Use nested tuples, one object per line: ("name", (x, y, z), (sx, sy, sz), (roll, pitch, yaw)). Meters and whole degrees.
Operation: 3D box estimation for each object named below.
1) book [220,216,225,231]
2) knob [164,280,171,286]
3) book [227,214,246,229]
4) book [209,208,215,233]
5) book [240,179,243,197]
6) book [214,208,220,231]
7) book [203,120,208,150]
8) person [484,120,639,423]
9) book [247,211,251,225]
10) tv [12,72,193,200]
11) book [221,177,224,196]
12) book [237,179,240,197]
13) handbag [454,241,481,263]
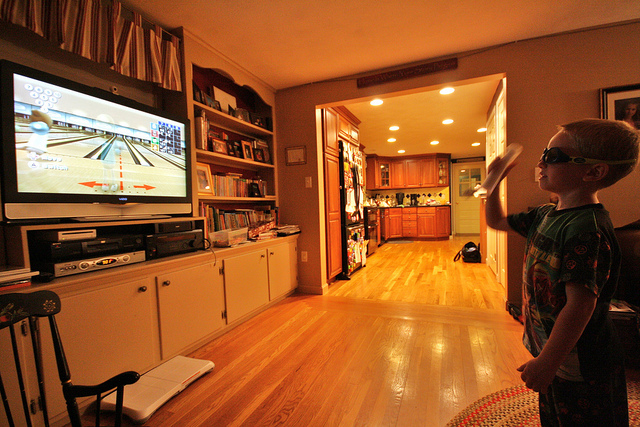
("book", (-0.966, 0.087, 4.166), (0.032, 0.128, 0.061), (-4, 4, 0))
("knob", (-1.208, 0.544, 3.340), (0.030, 0.032, 0.048), (-31, 1, -33))
("book", (-0.845, 0.069, 4.328), (0.073, 0.135, 0.239), (-2, 4, 23))
("book", (-1.041, 0.057, 4.066), (0.036, 0.221, 0.062), (-4, 4, -5))
("book", (-0.829, -0.273, 4.448), (0.025, 0.178, 0.072), (-4, 4, 1))
("book", (-1.000, 0.056, 4.133), (0.033, 0.205, 0.113), (-3, 4, 7))
("book", (-1.082, -0.747, 3.983), (0.018, 0.273, 0.084), (-3, 4, 8))
("person", (1.367, 0.343, 2.315), (0.751, 1.671, 0.409), (-2, 4, 18))
("book", (-0.753, 0.046, 4.522), (0.011, 0.122, 0.044), (-1, 5, 28))
("tv", (-1.695, -0.577, 3.221), (0.116, 0.679, 1.163), (-4, -4, 42))
("book", (-0.978, -0.275, 4.232), (0.008, 0.175, 0.042), (-1, 5, 31))
("book", (-0.852, -0.274, 4.412), (0.012, 0.170, 0.062), (-3, 4, 11))
("handbag", (2.236, 0.583, 6.373), (0.343, 0.156, 0.292), (0, 19, 16))
